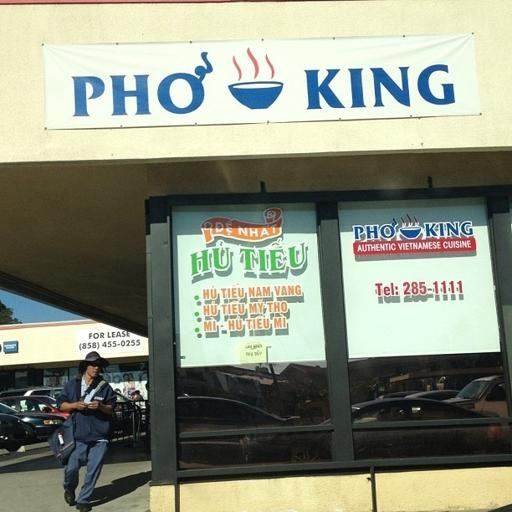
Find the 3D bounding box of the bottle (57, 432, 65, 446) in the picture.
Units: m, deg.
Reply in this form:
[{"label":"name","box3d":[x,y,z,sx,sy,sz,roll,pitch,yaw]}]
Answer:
[{"label":"bottle","box3d":[-2.063,1.923,7.781,0.059,0.108,0.027,-21,-19,20]}]

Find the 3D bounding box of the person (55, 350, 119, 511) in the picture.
[{"label":"person","box3d":[-1.832,1.842,7.875,0.513,1.648,0.567,14,-20,-43]}]

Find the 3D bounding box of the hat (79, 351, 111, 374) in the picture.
[{"label":"hat","box3d":[-1.772,1.108,8.074,0.281,0.161,0.312,0,-31,-14]}]

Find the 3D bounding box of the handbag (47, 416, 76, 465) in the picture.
[{"label":"handbag","box3d":[-2.029,1.938,7.810,0.384,0.458,0.143,-44,-31,26]}]
